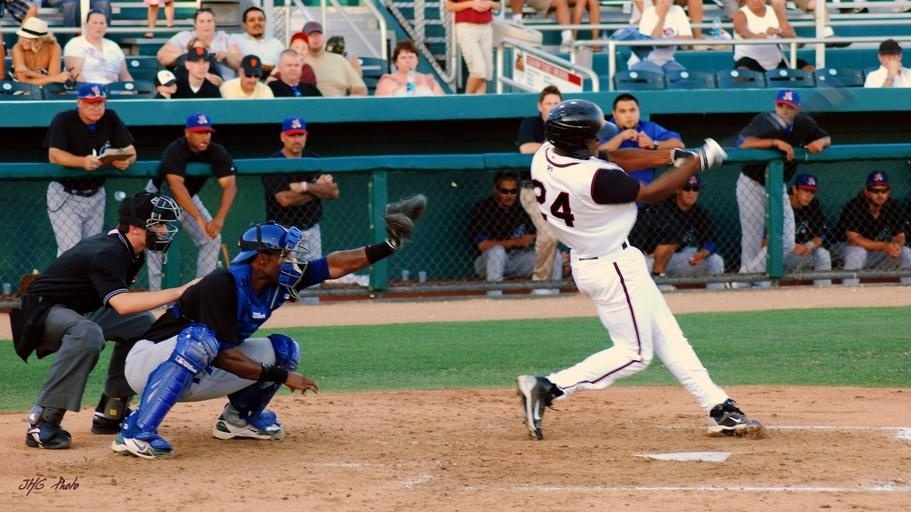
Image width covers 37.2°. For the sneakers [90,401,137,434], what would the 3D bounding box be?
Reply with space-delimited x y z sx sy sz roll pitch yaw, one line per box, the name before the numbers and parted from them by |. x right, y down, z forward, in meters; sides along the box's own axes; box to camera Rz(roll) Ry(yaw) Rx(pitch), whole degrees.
sneakers | -3.031 1.463 12.256 0.488 0.257 0.149 9 -12 -20

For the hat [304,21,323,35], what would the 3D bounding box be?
hat | -1.769 -2.835 16.807 0.257 0.181 0.345 0 5 -7

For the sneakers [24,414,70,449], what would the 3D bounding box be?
sneakers | -3.597 1.542 11.946 0.473 0.261 0.243 7 3 26

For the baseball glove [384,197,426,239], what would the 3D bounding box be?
baseball glove | -0.474 -0.279 11.831 0.449 0.247 0.506 -7 39 3

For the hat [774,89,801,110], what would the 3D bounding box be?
hat | 3.865 -1.815 15.554 0.236 0.144 0.314 15 1 22

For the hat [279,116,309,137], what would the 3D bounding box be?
hat | -1.843 -1.475 15.424 0.234 0.143 0.297 0 4 -20

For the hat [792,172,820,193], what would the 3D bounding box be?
hat | 4.117 -0.874 15.853 0.228 0.134 0.269 19 2 -14

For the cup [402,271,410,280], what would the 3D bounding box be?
cup | -0.573 0.224 15.629 0.123 0.112 0.109 1 -6 -8

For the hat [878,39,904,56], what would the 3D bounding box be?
hat | 5.519 -2.638 17.090 0.219 0.131 0.269 1 1 24

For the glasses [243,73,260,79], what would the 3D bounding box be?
glasses | -2.422 -2.147 16.137 0.190 0.040 0.138 -1 5 -17

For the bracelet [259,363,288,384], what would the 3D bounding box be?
bracelet | -1.577 1.032 11.734 0.212 0.077 0.152 5 9 -17

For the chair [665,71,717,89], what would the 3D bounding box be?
chair | 2.952 -2.200 16.898 0.435 0.125 0.311 3 2 5

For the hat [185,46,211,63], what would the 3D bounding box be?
hat | -3.103 -2.413 16.155 0.297 0.173 0.230 1 5 2

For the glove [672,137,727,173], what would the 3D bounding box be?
glove | 2.186 -0.896 11.972 0.585 0.216 0.222 -3 9 -1

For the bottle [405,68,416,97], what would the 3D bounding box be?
bottle | -0.543 -2.153 16.719 0.110 0.304 0.203 1 5 -1

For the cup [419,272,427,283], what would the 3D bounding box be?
cup | -0.375 0.242 15.656 0.128 0.115 0.114 1 -3 -2

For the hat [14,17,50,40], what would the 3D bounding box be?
hat | -5.049 -2.752 16.253 0.323 0.265 0.379 -3 6 -38

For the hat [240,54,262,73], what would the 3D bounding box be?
hat | -2.427 -2.273 16.073 0.241 0.244 0.272 0 5 -7

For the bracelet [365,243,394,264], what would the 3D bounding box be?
bracelet | -0.669 -0.047 11.765 0.269 0.151 0.115 -17 44 16

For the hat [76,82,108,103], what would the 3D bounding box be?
hat | -3.977 -1.772 14.619 0.241 0.146 0.331 -6 3 -44

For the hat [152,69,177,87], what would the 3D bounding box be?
hat | -3.473 -2.140 16.196 0.204 0.128 0.280 -17 12 -34

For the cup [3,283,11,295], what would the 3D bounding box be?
cup | -5.083 0.371 15.318 0.096 0.123 0.120 -1 5 -16

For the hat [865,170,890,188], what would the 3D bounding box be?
hat | 4.975 -0.914 15.891 0.256 0.201 0.093 1 5 5

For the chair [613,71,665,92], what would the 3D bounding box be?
chair | 2.312 -2.180 16.800 0.543 0.419 0.333 -1 13 -2

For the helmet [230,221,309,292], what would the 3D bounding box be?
helmet | -1.655 -0.073 11.862 0.706 0.509 0.462 1 20 -6

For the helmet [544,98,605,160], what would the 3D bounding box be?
helmet | 1.104 -1.161 12.046 0.660 0.441 0.443 0 26 -7

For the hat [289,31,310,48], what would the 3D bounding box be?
hat | -1.916 -2.674 16.687 0.254 0.295 0.105 3 0 -7

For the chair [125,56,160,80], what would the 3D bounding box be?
chair | -3.987 -2.398 17.201 0.505 0.307 0.303 -3 -21 -7

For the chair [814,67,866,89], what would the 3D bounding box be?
chair | 4.887 -2.269 17.262 0.528 0.153 0.352 2 -3 -15

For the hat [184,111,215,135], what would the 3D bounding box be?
hat | -2.832 -1.457 14.827 0.344 0.169 0.246 8 9 44

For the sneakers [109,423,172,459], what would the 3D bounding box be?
sneakers | -2.699 1.609 11.694 0.542 0.208 0.224 12 10 20

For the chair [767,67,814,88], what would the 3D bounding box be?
chair | 4.243 -2.237 16.978 0.654 0.235 0.219 0 5 -8
